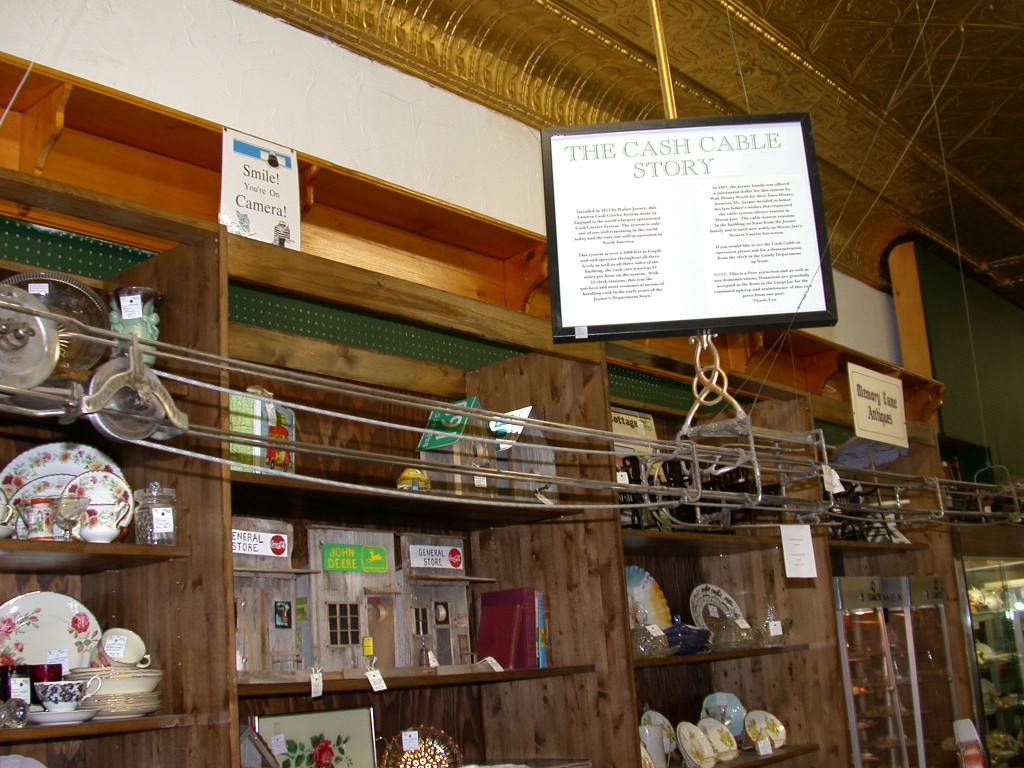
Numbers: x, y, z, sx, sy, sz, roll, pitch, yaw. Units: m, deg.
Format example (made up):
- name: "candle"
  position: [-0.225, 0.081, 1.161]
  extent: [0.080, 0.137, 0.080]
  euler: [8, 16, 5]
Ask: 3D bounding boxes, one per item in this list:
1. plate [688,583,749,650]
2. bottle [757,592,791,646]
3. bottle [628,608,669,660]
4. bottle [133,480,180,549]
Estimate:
- name: "plate"
  position: [1.056, 1.186, 4.290]
  extent: [0.244, 0.239, 0.056]
  euler: [17, -50, -32]
- name: "bottle"
  position: [1.305, 1.213, 4.357]
  extent: [0.190, 0.248, 0.184]
  euler: [7, -21, 3]
- name: "bottle"
  position: [0.584, 1.091, 3.736]
  extent: [0.195, 0.196, 0.177]
  euler: [0, -6, -7]
- name: "bottle"
  position: [-1.002, 0.358, 2.355]
  extent: [0.121, 0.193, 0.121]
  euler: [-8, -14, -2]
